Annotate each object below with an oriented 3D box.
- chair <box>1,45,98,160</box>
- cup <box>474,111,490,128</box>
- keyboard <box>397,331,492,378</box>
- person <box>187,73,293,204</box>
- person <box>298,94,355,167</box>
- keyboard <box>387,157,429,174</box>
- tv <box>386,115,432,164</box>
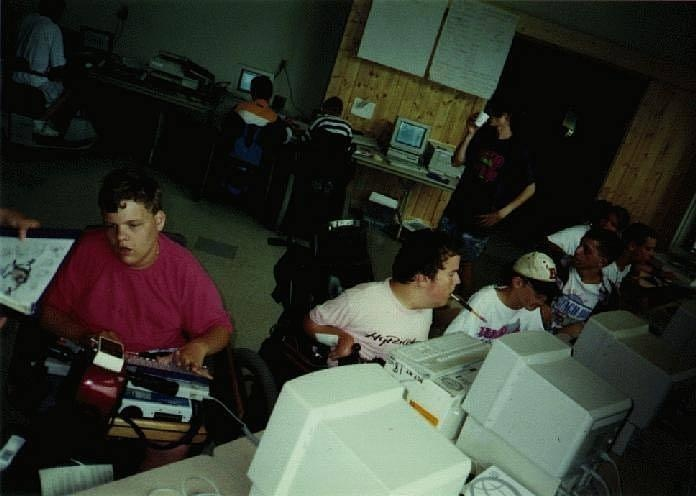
[{"bbox_3d":[-2.605,-1.249,5.089,0.719,0.703,0.531,-2,42,-20],"label":"chair"},{"bbox_3d":[1.185,-1.132,5.006,0.085,0.117,0.043,24,21,23],"label":"cup"},{"bbox_3d":[0.449,0.506,2.672,0.337,0.077,0.203,-11,27,-28],"label":"keyboard"},{"bbox_3d":[-0.906,-0.956,5.162,0.736,1.097,0.662,7,18,-45],"label":"person"},{"bbox_3d":[-0.138,-0.996,4.847,0.445,0.518,0.812,12,17,-5],"label":"person"},{"bbox_3d":[0.597,-0.819,5.743,0.405,0.083,0.239,12,17,-7],"label":"keyboard"},{"bbox_3d":[0.612,-1.068,6.016,0.455,0.471,0.478,16,5,-1],"label":"tv"}]
